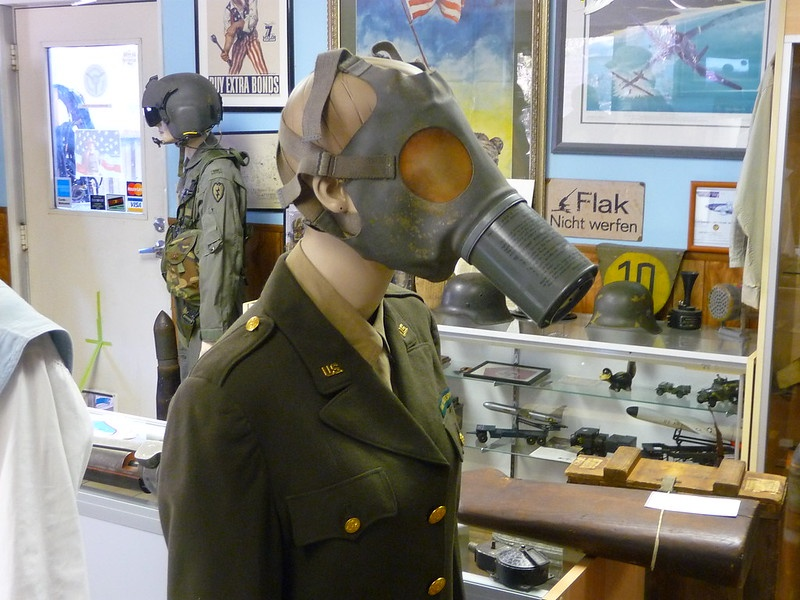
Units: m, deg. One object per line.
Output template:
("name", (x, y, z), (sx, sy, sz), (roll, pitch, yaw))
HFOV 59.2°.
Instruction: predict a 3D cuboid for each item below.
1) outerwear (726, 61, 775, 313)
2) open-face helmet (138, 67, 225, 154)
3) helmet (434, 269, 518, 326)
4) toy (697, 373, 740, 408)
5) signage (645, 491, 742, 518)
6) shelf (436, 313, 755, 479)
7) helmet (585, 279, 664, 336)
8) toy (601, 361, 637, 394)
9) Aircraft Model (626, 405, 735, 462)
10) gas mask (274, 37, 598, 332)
("outerwear", (1.284, -0.417, 2.555), (0.112, 0.894, 0.308), (5, 10, 22))
("open-face helmet", (-1.094, -0.986, 3.540), (0.369, 0.331, 0.307), (4, 17, 14))
("helmet", (0.308, -0.024, 3.033), (0.387, 0.200, 0.321), (-1, 17, -10))
("toy", (1.138, 0.334, 2.519), (0.132, 0.108, 0.070), (6, 10, 24))
("signage", (0.557, 0.389, 1.338), (0.172, 0.015, 0.095), (5, 10, 18))
("shelf", (0.733, 0.338, 2.483), (0.576, 0.574, 0.191), (8, 1, 19))
("helmet", (0.907, 0.019, 2.851), (0.298, 0.200, 0.245), (8, 22, 24))
("toy", (0.830, 0.302, 2.651), (0.143, 0.150, 0.068), (2, -2, 32))
("Aircraft Model", (0.999, 0.497, 2.578), (0.340, 0.164, 0.116), (6, 10, 24))
("gas mask", (0.046, -0.157, 0.931), (0.449, 0.266, 0.258), (34, 41, 8))
